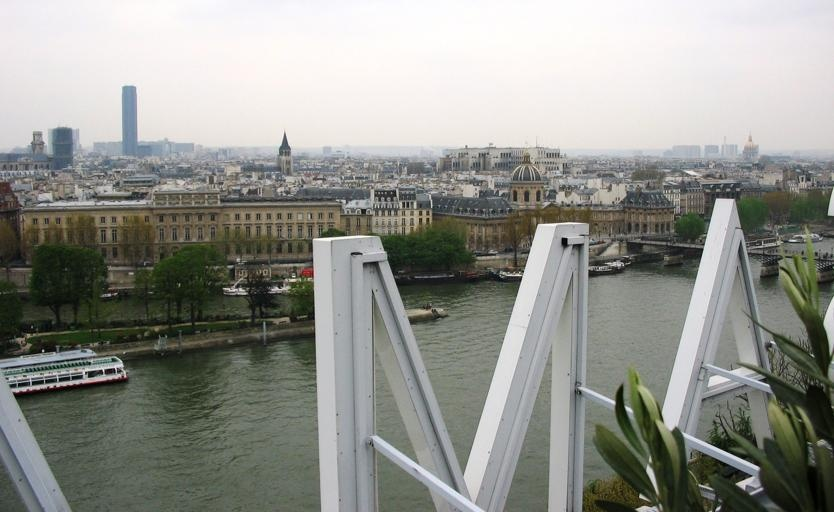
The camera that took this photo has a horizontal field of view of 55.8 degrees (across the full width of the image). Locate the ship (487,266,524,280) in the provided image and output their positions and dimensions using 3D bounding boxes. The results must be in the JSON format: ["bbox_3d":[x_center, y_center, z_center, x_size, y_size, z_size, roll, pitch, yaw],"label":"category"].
[{"bbox_3d":[3.269,0.630,29.725,1.268,0.316,2.158,0,10,5],"label":"ship"}]

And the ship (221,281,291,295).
[{"bbox_3d":[-5.328,1.097,25.833,1.735,0.377,1.019,0,3,-4],"label":"ship"}]
